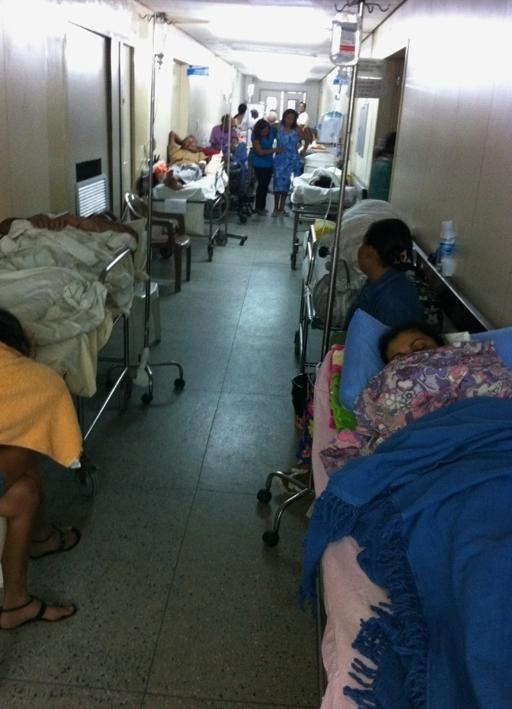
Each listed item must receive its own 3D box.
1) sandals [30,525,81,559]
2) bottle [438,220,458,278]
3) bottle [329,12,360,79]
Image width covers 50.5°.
[{"bbox_3d":[-0.713,0.667,1.936,0.145,0.047,0.075,-16,66,-36],"label":"sandals"},{"bbox_3d":[1.008,-0.553,2.850,0.079,0.276,0.185,6,23,4],"label":"bottle"},{"bbox_3d":[0.344,-1.211,2.088,0.151,0.269,0.053,1,6,1],"label":"bottle"}]
